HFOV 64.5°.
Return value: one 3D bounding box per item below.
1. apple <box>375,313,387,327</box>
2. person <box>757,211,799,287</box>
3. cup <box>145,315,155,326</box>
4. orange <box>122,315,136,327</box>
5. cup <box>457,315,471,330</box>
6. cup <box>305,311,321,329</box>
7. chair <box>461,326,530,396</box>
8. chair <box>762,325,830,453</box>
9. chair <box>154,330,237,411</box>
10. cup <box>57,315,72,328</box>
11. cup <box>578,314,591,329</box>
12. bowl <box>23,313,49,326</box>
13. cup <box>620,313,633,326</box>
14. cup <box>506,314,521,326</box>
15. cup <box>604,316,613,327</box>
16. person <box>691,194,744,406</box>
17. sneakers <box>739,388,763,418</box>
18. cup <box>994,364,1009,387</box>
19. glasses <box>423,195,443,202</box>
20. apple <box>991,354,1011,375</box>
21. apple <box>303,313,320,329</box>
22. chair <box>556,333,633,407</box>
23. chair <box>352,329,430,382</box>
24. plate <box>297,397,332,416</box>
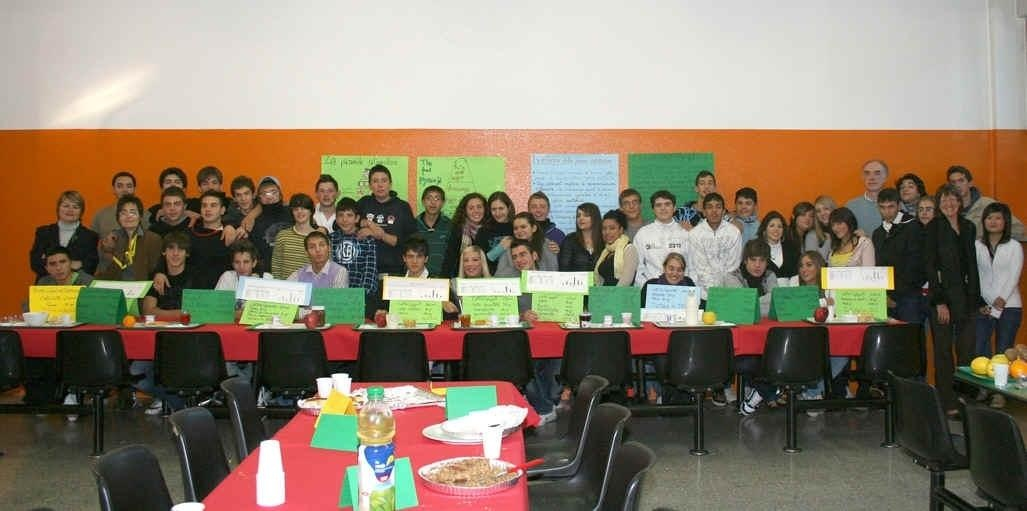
[{"bbox_3d":[-1.692,0.819,10.458,0.189,0.150,0.168,1,-2,-9],"label":"apple"},{"bbox_3d":[3.868,-0.175,12.011,0.827,0.867,0.359,-3,1,0],"label":"person"},{"bbox_3d":[-4.681,0.824,10.526,0.131,0.104,0.118,1,-6,-22],"label":"cup"},{"bbox_3d":[-4.905,0.851,10.508,0.139,0.126,0.182,-26,-25,22],"label":"orange"},{"bbox_3d":[-0.620,0.840,10.401,0.181,0.158,0.161,1,-9,-2],"label":"cup"},{"bbox_3d":[-2.544,0.821,10.354,0.230,0.223,0.211,6,-4,0],"label":"cup"},{"bbox_3d":[-0.118,1.277,10.294,0.857,0.852,0.759,1,-6,-3],"label":"chair"},{"bbox_3d":[3.476,1.684,10.357,1.019,1.487,0.793,5,-13,-20],"label":"chair"},{"bbox_3d":[-4.005,1.531,10.314,1.160,1.004,1.056,5,-10,-29],"label":"chair"},{"bbox_3d":[-5.734,0.845,10.476,0.200,0.119,0.142,-3,0,-11],"label":"cup"},{"bbox_3d":[0.911,0.832,10.417,0.199,0.183,0.190,1,4,0],"label":"cup"},{"bbox_3d":[-6.074,0.804,10.437,0.229,0.101,0.205,0,-8,2],"label":"bowl"},{"bbox_3d":[1.470,0.821,10.569,0.173,0.138,0.154,0,-3,-2],"label":"cup"},{"bbox_3d":[-0.008,0.836,10.494,0.170,0.105,0.123,-2,-2,10],"label":"cup"},{"bbox_3d":[1.213,0.836,10.476,0.146,0.189,0.131,-1,0,4],"label":"cup"},{"bbox_3d":[2.886,0.450,12.079,0.926,2.716,0.913,-1,22,-2],"label":"person"},{"bbox_3d":[3.282,2.040,11.222,0.261,0.187,0.539,-31,20,19],"label":"sneakers"},{"bbox_3d":[5.303,1.289,8.871,0.162,0.272,0.147,-3,1,18],"label":"cup"},{"bbox_3d":[-1.144,-0.825,11.717,0.300,0.056,0.037,-2,1,-7],"label":"glasses"},{"bbox_3d":[5.308,1.186,8.898,0.232,0.221,0.239,2,-7,43],"label":"apple"},{"bbox_3d":[-2.551,0.828,10.350,0.215,0.172,0.196,3,10,13],"label":"apple"},{"bbox_3d":[1.035,1.338,10.059,0.924,0.833,0.856,1,-4,2],"label":"chair"},{"bbox_3d":[-1.446,1.222,10.299,0.794,0.833,0.704,1,-2,-3],"label":"chair"},{"bbox_3d":[-2.073,1.544,8.425,0.202,0.058,0.216,-7,12,-38],"label":"plate"}]
